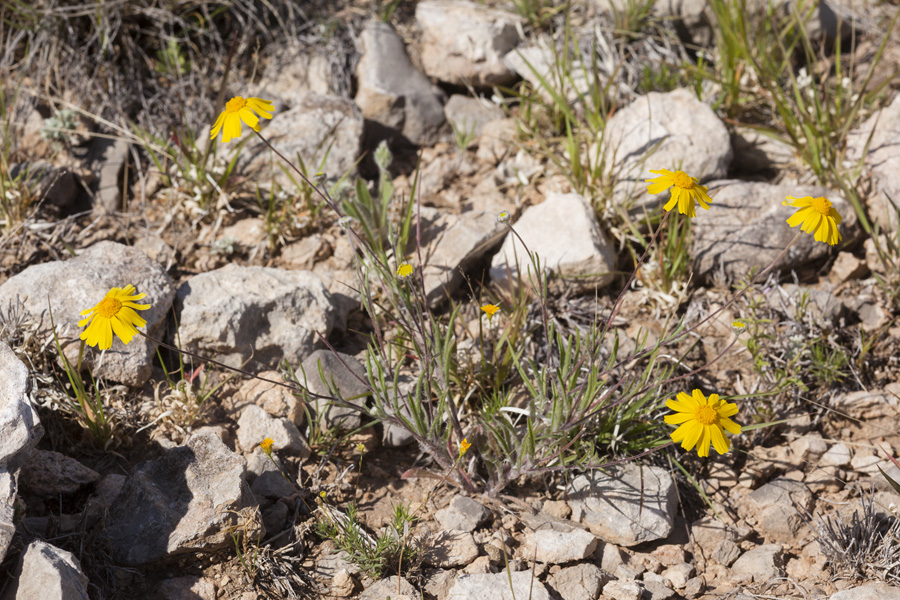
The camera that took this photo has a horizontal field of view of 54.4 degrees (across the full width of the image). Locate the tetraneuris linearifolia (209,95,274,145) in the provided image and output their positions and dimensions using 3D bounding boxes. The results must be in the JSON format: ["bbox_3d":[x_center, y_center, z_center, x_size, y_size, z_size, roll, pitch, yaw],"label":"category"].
[{"bbox_3d":[-1.290,-1.119,5.308,0.341,0.176,0.385,18,18,16],"label":"tetraneuris linearifolia"}]

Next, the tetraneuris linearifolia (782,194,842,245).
[{"bbox_3d":[2.242,-0.503,5.379,0.475,0.249,0.458,10,17,36],"label":"tetraneuris linearifolia"}]

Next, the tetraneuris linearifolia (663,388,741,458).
[{"bbox_3d":[1.462,0.693,5.096,0.450,0.138,0.451,-33,25,-20],"label":"tetraneuris linearifolia"}]

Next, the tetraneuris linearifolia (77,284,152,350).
[{"bbox_3d":[-1.943,0.109,5.084,0.333,0.129,0.389,6,33,-6],"label":"tetraneuris linearifolia"}]

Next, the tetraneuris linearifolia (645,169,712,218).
[{"bbox_3d":[1.405,-0.647,5.387,0.387,0.205,0.436,13,2,-8],"label":"tetraneuris linearifolia"}]
